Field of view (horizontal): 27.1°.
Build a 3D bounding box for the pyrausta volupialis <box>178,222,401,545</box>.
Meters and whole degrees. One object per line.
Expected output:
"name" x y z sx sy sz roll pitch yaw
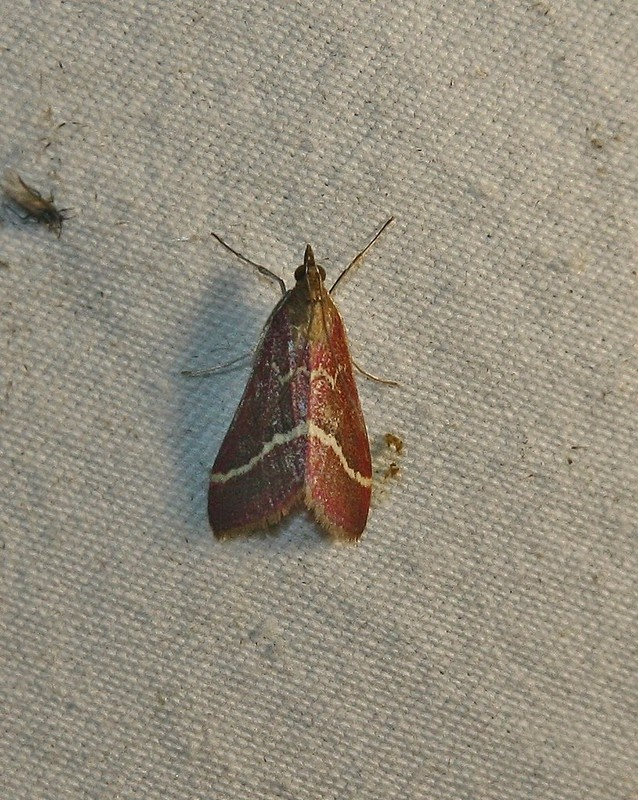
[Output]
"pyrausta volupialis" -0.061 -0.013 2.103 0.270 0.095 0.517 0 90 -3
